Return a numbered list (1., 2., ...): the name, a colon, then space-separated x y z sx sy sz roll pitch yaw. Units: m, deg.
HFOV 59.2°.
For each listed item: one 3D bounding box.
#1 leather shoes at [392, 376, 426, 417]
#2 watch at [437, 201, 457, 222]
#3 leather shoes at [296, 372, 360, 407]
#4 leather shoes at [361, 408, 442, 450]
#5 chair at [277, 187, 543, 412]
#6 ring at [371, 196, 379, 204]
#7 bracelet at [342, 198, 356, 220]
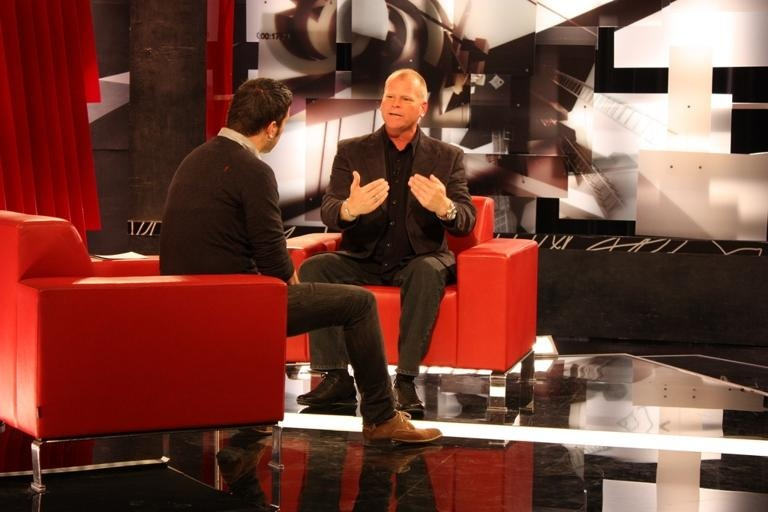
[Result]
1. leather shoes: 0.120 0.659 3.311 0.114 0.143 0.341 3 5 -12
2. watch: 0.319 -0.228 3.392 0.091 0.094 0.108 1 9 -1
3. leather shoes: -0.289 0.676 3.514 0.374 0.173 0.131 1 4 -33
4. leather shoes: 0.074 0.776 3.060 0.397 0.170 0.133 -1 -3 -7
5. chair: 0.142 0.179 3.781 1.278 0.981 0.693 3 9 21
6. ring: -0.039 -0.281 3.342 0.024 0.024 0.023 0 1 0
7. bracelet: -0.173 -0.246 3.430 0.084 0.092 0.107 2 25 -4
